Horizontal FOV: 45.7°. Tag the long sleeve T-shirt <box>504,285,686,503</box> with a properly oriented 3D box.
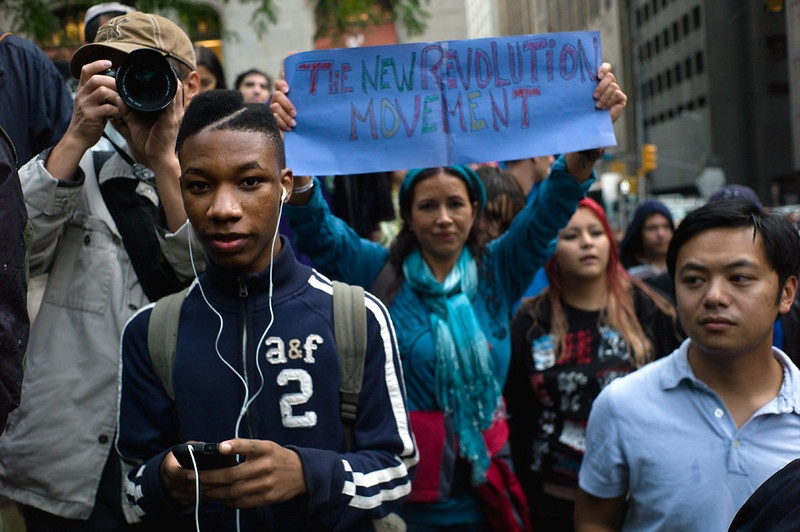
[{"bbox_3d":[1.275,0.778,6.165,1.201,1.246,0.707,-4,-3,24],"label":"long sleeve T-shirt"}]

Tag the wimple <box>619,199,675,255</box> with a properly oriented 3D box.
[{"bbox_3d":[2.164,-0.367,8.614,0.441,0.551,0.466,6,-4,-4],"label":"wimple"}]

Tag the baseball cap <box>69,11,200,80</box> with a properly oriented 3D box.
[{"bbox_3d":[-1.505,-1.238,5.402,0.366,0.296,0.549,-9,-8,33],"label":"baseball cap"}]

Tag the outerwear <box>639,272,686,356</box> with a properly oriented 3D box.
[{"bbox_3d":[1.799,0.324,6.378,0.368,0.541,0.219,-6,-5,41],"label":"outerwear"}]
